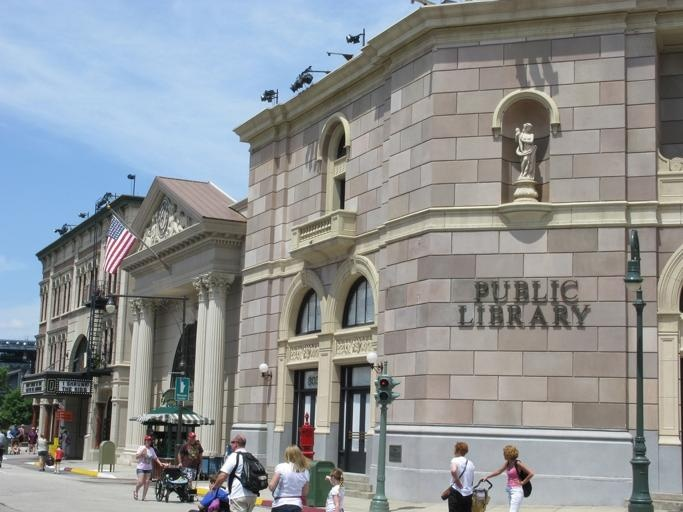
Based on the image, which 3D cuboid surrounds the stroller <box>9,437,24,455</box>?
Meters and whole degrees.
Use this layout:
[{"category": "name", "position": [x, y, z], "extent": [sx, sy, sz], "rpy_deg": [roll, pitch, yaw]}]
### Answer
[{"category": "stroller", "position": [-22.687, 13.350, 68.912], "extent": [0.916, 1.156, 1.871], "rpy_deg": [4, -28, -17]}]

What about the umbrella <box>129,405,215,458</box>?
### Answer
[{"category": "umbrella", "position": [-7.050, 7.572, 43.421], "extent": [4.045, 2.789, 4.029], "rpy_deg": [3, -8, -23]}]

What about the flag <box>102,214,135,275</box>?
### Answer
[{"category": "flag", "position": [-10.557, -0.542, 47.303], "extent": [1.183, 3.120, 1.355], "rpy_deg": [6, -18, -14]}]
